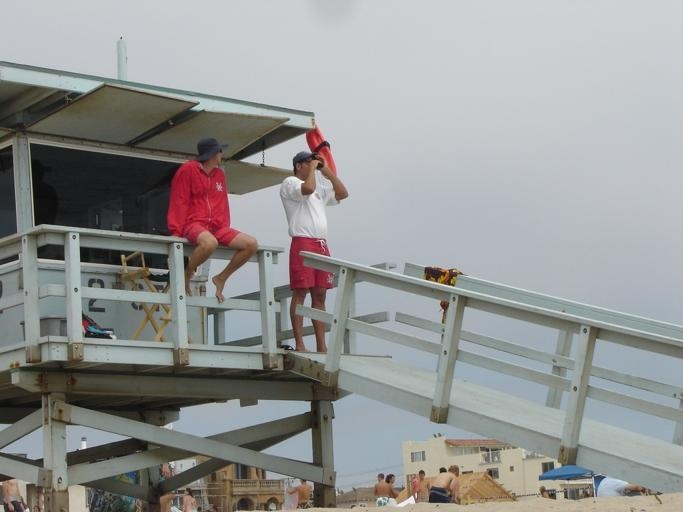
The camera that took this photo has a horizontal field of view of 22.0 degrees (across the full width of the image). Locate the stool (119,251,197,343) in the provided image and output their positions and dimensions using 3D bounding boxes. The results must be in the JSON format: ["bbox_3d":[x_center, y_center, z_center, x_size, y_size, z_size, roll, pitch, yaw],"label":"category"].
[{"bbox_3d":[-2.520,0.587,22.138,1.130,1.392,1.148,0,4,3],"label":"stool"}]
